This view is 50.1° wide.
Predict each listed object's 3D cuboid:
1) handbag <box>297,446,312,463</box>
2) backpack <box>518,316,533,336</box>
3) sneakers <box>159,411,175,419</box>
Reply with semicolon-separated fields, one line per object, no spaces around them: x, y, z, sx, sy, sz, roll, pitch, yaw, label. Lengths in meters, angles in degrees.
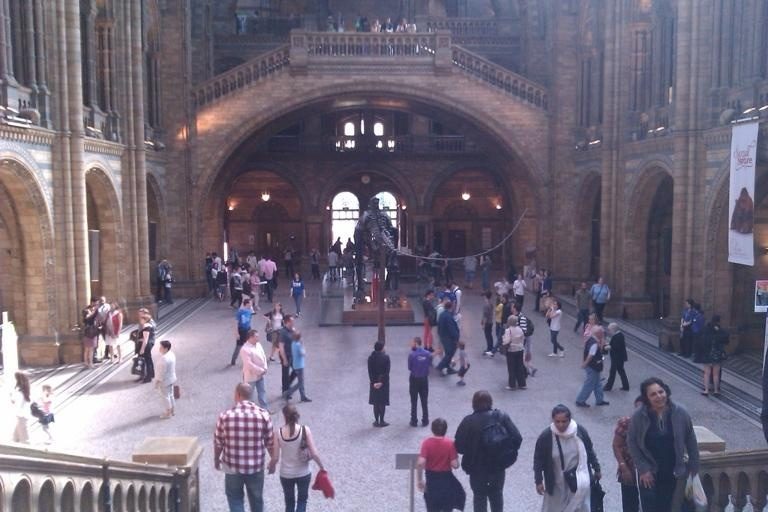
-1.326;3.343;13.924;0.265;0.287;0.120;2;7;10;handbag
3.428;1.655;19.746;0.466;0.496;0.502;-6;-11;7;backpack
-4.692;3.468;18.049;0.349;0.225;0.126;4;2;12;sneakers
